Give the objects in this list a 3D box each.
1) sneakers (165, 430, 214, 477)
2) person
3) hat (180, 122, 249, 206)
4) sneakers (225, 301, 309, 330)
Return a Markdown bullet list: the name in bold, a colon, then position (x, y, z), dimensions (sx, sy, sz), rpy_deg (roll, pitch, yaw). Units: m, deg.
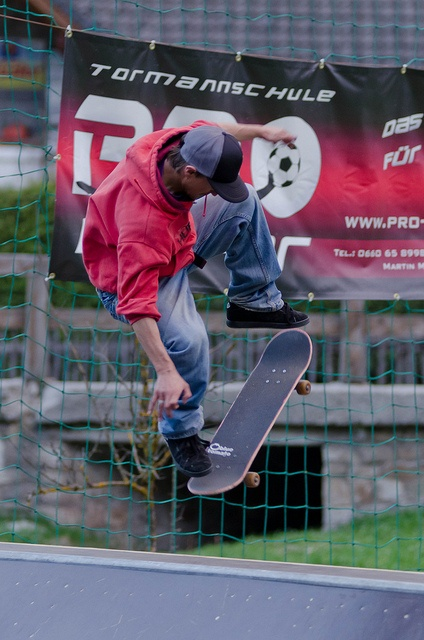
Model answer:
- **sneakers**: position (-0.125, 0.645, 4.692), dimensions (0.137, 0.120, 0.298), rpy_deg (-23, 30, -13)
- **person**: position (-0.200, -0.110, 4.619), dimensions (0.774, 1.784, 1.144), rpy_deg (12, 10, 26)
- **hat**: position (0.014, -0.713, 4.279), dimensions (0.330, 0.336, 0.196), rpy_deg (6, 9, -3)
- **sneakers**: position (0.283, -0.024, 4.980), dimensions (0.472, 0.173, 0.149), rpy_deg (0, 9, -3)
